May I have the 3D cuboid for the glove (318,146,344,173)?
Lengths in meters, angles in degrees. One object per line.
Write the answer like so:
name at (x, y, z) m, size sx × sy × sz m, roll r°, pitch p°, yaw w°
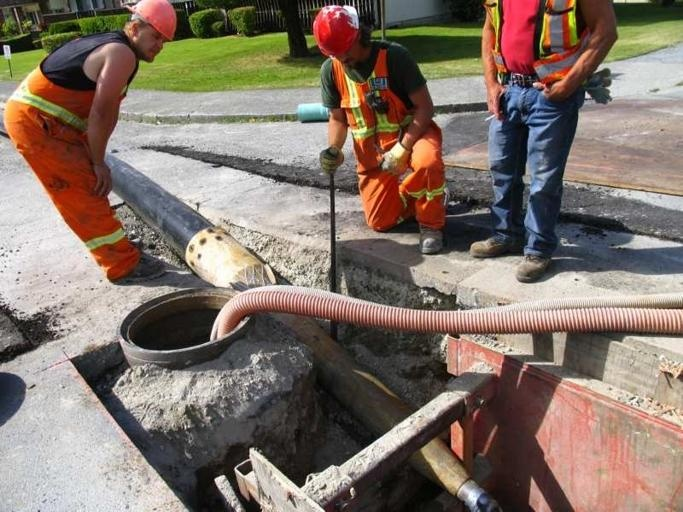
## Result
glove at (-0.095, -0.773, 3.962) m, size 0.156 × 0.227 × 0.084 m, roll -2°, pitch 17°, yaw -24°

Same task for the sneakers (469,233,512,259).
sneakers at (1.021, -0.083, 3.567) m, size 0.303 × 0.149 × 0.134 m, roll -3°, pitch 32°, yaw -3°

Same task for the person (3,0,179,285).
person at (-1.726, -0.752, 3.747) m, size 1.184 × 1.938 × 0.473 m, roll -15°, pitch 30°, yaw -14°

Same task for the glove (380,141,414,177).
glove at (0.404, -0.728, 3.846) m, size 0.241 × 0.245 × 0.183 m, roll 26°, pitch -1°, yaw 2°

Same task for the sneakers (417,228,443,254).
sneakers at (0.652, -0.128, 3.698) m, size 0.173 × 0.135 × 0.227 m, roll 0°, pitch 30°, yaw 12°

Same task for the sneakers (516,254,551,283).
sneakers at (1.205, 0.066, 3.202) m, size 0.105 × 0.137 × 0.314 m, roll -16°, pitch 1°, yaw 31°

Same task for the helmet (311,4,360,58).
helmet at (-0.027, -1.589, 3.573) m, size 0.312 × 0.334 × 0.317 m, roll -5°, pitch 29°, yaw 4°

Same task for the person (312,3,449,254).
person at (0.261, -0.933, 3.704) m, size 0.956 × 1.658 × 0.888 m, roll 0°, pitch 29°, yaw 11°
